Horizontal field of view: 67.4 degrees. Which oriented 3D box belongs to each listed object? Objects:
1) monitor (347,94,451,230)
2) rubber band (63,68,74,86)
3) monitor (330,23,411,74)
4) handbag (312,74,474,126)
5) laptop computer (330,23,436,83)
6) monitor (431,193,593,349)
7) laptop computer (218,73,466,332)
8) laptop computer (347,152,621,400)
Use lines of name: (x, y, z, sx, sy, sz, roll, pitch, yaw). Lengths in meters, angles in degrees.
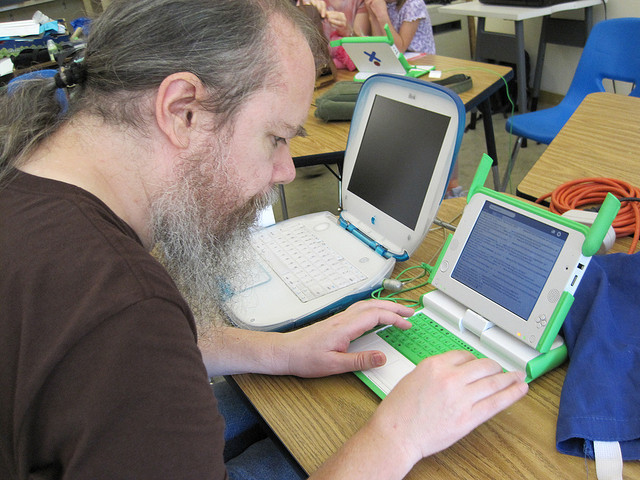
monitor: (0.203, -0.195, 1.195, 0.014, 0.285, 0.276, 6, 18, -36)
rubber band: (-0.394, -0.258, 0.758, 0.014, 0.024, 0.011, -18, 36, -19)
monitor: (0.242, -0.825, 2.135, 0.289, 0.223, 0.299, 14, 40, 38)
handbag: (0.276, -0.578, 2.080, 0.560, 0.098, 0.327, -24, 34, -25)
laptop computer: (0.319, -0.866, 2.188, 0.353, 0.242, 0.337, -32, 34, -25)
monitor: (0.349, 0.042, 0.913, 0.273, 0.204, 0.128, 24, 32, -7)
laptop computer: (0.012, -0.123, 1.146, 0.583, 0.430, 0.413, -16, 31, -24)
laptop computer: (0.255, 0.074, 0.891, 0.438, 0.299, 0.349, -17, 25, -15)
